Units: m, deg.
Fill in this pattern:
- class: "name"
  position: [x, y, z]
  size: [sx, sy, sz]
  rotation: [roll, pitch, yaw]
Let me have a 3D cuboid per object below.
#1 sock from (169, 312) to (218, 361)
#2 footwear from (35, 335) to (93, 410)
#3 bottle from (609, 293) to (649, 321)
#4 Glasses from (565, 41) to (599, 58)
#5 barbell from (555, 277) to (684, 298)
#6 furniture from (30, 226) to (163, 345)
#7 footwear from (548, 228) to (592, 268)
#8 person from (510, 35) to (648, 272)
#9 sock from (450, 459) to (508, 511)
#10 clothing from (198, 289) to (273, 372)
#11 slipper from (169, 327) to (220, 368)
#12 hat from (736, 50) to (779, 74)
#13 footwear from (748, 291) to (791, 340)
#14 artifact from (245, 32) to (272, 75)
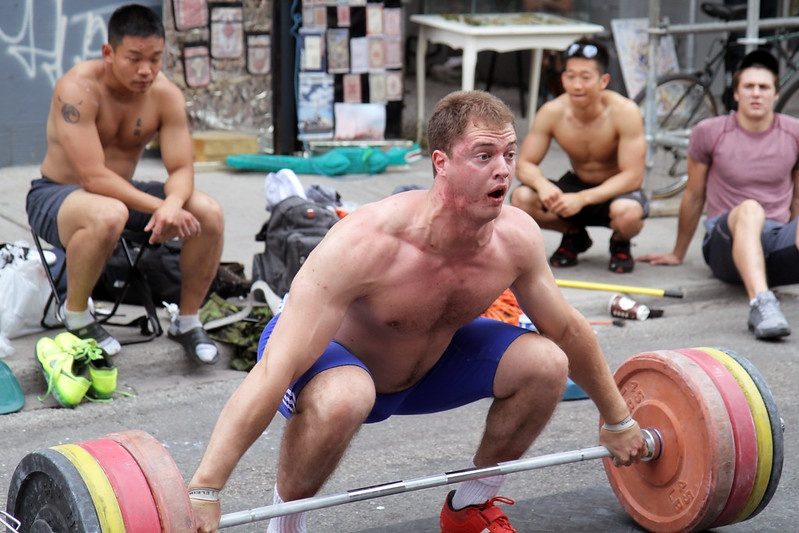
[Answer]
- class: "sock"
  position: [-1.243, 0.405, 5.891]
  size: [0.151, 0.184, 0.414]
  rotation: [-15, 30, -36]
- class: "footwear"
  position: [-1.867, 0.616, 5.375]
  size: [0.225, 0.226, 0.410]
  rotation: [-10, 54, -46]
- class: "bottle"
  position: [1.534, 0.287, 6.580]
  size: [0.249, 0.188, 0.190]
  rotation: [4, 3, 25]
- class: "Glasses"
  position: [1.296, -1.536, 6.890]
  size: [0.152, 0.041, 0.126]
  rotation: [4, 49, 20]
- class: "barbell"
  position: [1.533, 0.157, 6.834]
  size: [0.770, 0.074, 0.075]
  rotation: [3, 53, 7]
- class: "furniture"
  position: [-1.913, 0.084, 6.273]
  size: [0.816, 1.049, 0.599]
  rotation: [-7, 11, -22]
- class: "footwear"
  position: [1.308, -0.137, 7.465]
  size: [0.165, 0.217, 0.464]
  rotation: [14, 40, 42]
- class: "person"
  position: [1.364, -0.807, 7.293]
  size: [1.010, 1.691, 0.935]
  rotation: [6, 21, 26]
- class: "sock"
  position: [0.360, 1.016, 4.455]
  size: [0.284, 0.098, 0.201]
  rotation: [-30, -2, 18]
- class: "clothing"
  position: [-0.941, 0.463, 6.029]
  size: [0.129, 0.349, 0.340]
  rotation: [21, 2, -24]
- class: "slipper"
  position: [-1.231, 0.489, 5.822]
  size: [0.147, 0.141, 0.346]
  rotation: [-14, 37, -37]
- class: "hat"
  position: [2.493, -1.424, 6.746]
  size: [0.289, 0.188, 0.255]
  rotation: [1, 9, 10]
- class: "footwear"
  position: [2.369, 0.326, 6.252]
  size: [0.260, 0.299, 0.226]
  rotation: [3, 9, 21]
- class: "artifact"
  position: [-1.414, -2.008, 9.265]
  size: [0.161, 0.382, 0.501]
  rotation: [-2, 8, 16]
